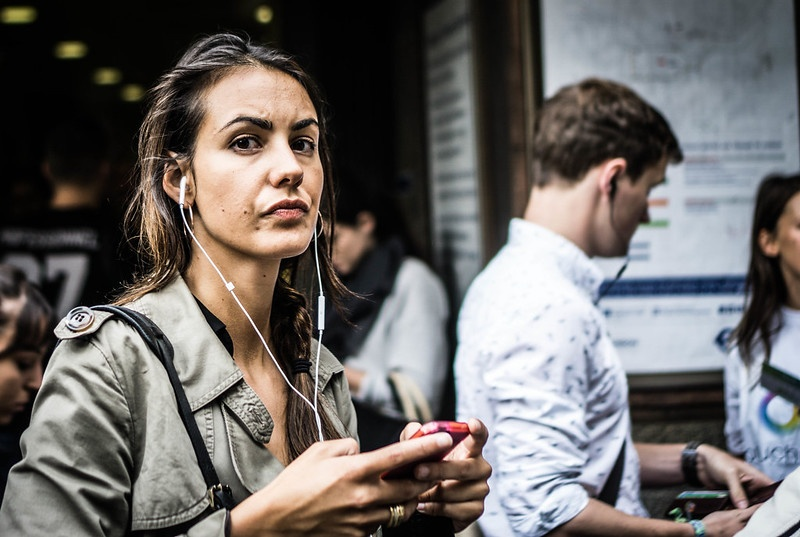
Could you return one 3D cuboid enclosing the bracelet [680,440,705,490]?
[{"bbox_3d":[1.594,1.075,4.680,0.143,0.203,0.076,-2,-8,24],"label":"bracelet"}]

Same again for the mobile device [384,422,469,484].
[{"bbox_3d":[0.140,0.776,3.635,0.397,0.242,0.183,-2,4,-33],"label":"mobile device"}]

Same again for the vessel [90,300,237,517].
[{"bbox_3d":[-0.943,0.571,3.768,0.224,0.971,0.529,-24,-1,17],"label":"vessel"}]

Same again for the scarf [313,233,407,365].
[{"bbox_3d":[-0.261,0.219,6.148,0.266,0.815,0.625,30,13,-37],"label":"scarf"}]
